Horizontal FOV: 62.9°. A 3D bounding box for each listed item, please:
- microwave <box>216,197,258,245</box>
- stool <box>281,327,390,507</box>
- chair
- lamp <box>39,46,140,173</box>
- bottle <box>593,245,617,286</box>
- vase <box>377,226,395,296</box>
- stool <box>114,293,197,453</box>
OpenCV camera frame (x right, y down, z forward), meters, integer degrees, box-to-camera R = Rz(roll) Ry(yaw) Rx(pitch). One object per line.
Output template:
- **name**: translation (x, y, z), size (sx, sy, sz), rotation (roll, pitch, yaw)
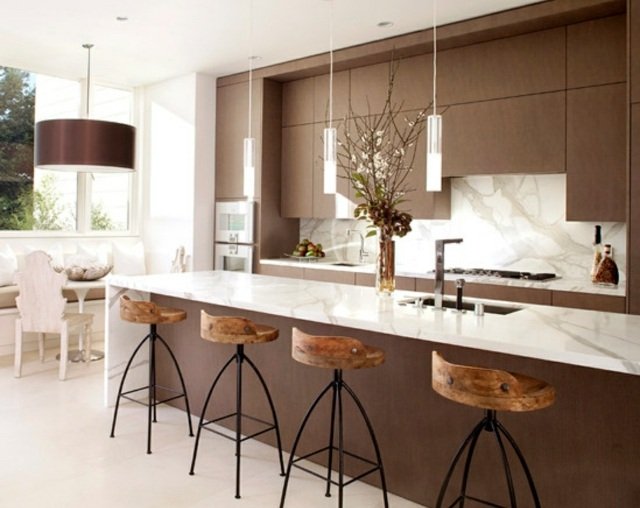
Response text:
- **microwave**: translation (-0.963, -0.392, 6.203), size (0.539, 0.500, 0.281), rotation (-1, -3, 44)
- **stool**: translation (0.089, 0.882, 2.979), size (0.621, 1.039, 0.739), rotation (0, 6, 1)
- **chair**: translation (-2.578, 0.519, 5.122), size (0.692, 1.155, 1.020), rotation (-4, 7, -31)
- **lamp**: translation (-1.896, -0.997, 4.205), size (0.559, 0.675, 0.570), rotation (2, 0, 29)
- **bottle**: translation (2.204, 0.079, 4.056), size (0.166, 0.299, 0.179), rotation (0, 6, 0)
- **vase**: translation (0.416, 0.046, 3.318), size (0.103, 0.411, 0.052), rotation (0, 6, 4)
- **stool**: translation (-1.242, 0.763, 3.891), size (0.577, 1.007, 1.000), rotation (-3, 6, -22)
